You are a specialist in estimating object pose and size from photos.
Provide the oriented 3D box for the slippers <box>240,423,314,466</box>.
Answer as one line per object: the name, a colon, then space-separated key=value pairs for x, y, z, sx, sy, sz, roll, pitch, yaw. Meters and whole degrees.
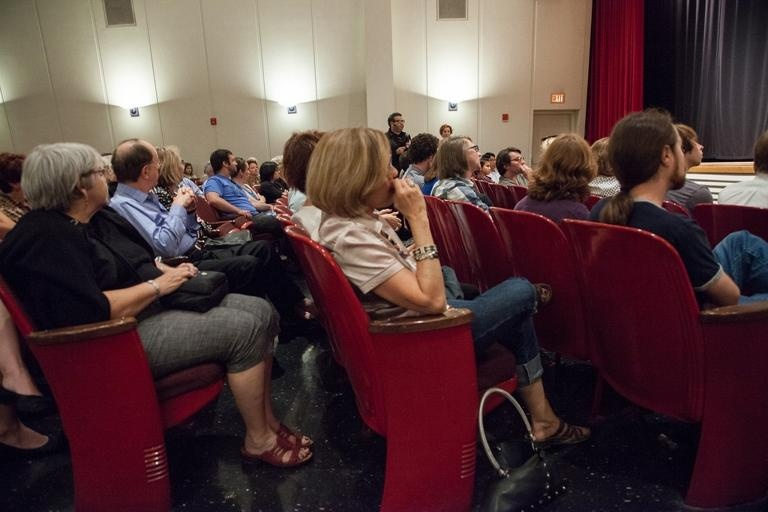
slippers: x=-0.476 y=0.877 z=2.315 sx=0.231 sy=0.102 sz=0.166 roll=4 pitch=13 yaw=8

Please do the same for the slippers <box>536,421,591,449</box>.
slippers: x=0.826 y=0.817 z=2.354 sx=0.252 sy=0.124 sz=0.127 roll=-6 pitch=1 yaw=-8

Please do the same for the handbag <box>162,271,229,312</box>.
handbag: x=-0.839 y=0.121 z=2.265 sx=0.154 sy=0.116 sz=0.223 roll=-1 pitch=9 yaw=12
